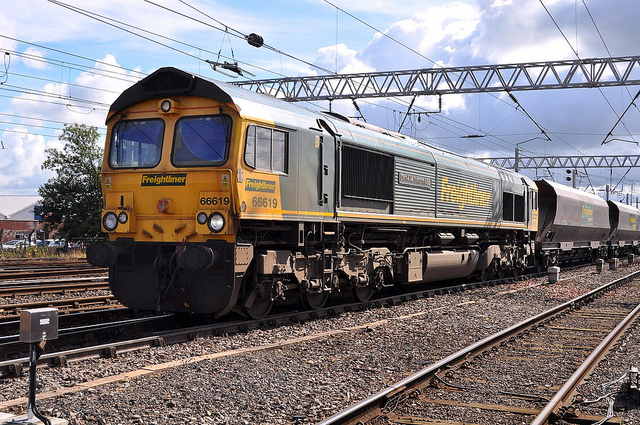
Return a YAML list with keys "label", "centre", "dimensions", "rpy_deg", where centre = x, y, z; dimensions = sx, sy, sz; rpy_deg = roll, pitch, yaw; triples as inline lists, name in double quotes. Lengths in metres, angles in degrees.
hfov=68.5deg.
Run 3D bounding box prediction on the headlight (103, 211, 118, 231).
- label: "headlight"
  centre: [-4.643, 0.192, 10.375]
  dimensions: [0.418, 0.431, 0.096]
  rpy_deg: [-1, -2, 31]
